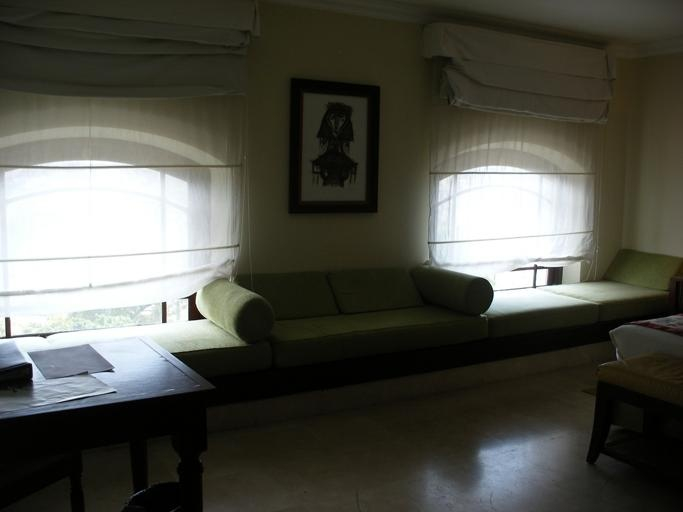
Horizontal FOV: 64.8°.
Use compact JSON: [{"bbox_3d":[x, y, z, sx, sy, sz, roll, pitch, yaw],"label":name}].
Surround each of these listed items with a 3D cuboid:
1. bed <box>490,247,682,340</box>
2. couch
[{"bbox_3d":[2.350,0.358,5.197,2.680,0.475,0.856,-9,16,-33],"label":"bed"},{"bbox_3d":[0.065,0.403,4.319,2.231,0.537,0.908,-5,15,-22],"label":"couch"}]
